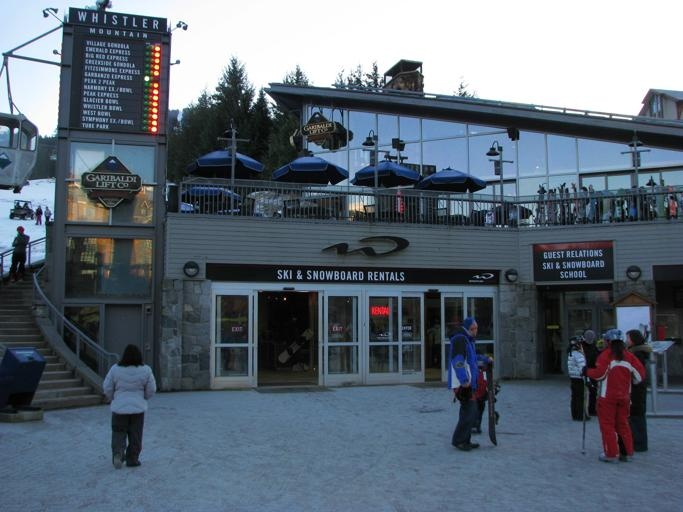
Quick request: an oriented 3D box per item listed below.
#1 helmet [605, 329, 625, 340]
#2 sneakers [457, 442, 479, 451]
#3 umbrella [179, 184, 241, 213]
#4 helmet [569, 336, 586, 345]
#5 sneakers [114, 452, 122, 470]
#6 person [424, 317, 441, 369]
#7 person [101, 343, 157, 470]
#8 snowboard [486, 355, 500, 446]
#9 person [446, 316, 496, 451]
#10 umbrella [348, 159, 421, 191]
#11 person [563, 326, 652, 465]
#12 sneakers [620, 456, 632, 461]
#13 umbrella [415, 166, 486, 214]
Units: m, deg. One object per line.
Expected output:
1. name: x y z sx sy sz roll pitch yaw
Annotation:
1. helmet: 4.873 1.396 12.579 0.266 0.226 0.417 0 2 10
2. sneakers: 2.275 3.386 12.689 0.469 0.136 0.202 0 -2 -27
3. umbrella: -3.717 -1.629 20.186 1.008 0.508 1.059 2 -1 10
4. helmet: 5.109 1.830 15.408 0.311 0.185 0.461 -6 -2 3
5. sneakers: -3.646 3.341 11.539 0.106 0.240 0.101 -2 -9 -8
6. person: 3.190 2.748 24.505 0.620 2.969 0.365 3 32 13
7. person: -3.550 2.484 11.863 0.824 1.961 0.522 0 -2 -20
8. snowboard: 2.807 2.690 12.977 0.196 1.953 0.209 -1 -17 3
9. person: 2.226 2.288 12.751 0.424 2.324 0.580 -3 -3 43
10. umbrella: 1.533 -2.649 23.475 1.969 1.156 4.157 -1 -2 5
11. person: 4.674 2.386 12.113 0.887 2.104 0.529 1 -2 -36
12. sneakers: 4.761 3.388 11.869 0.175 0.083 0.074 -6 -1 3
13. umbrella: 3.626 -2.154 23.261 1.918 0.984 2.000 -1 -4 5
